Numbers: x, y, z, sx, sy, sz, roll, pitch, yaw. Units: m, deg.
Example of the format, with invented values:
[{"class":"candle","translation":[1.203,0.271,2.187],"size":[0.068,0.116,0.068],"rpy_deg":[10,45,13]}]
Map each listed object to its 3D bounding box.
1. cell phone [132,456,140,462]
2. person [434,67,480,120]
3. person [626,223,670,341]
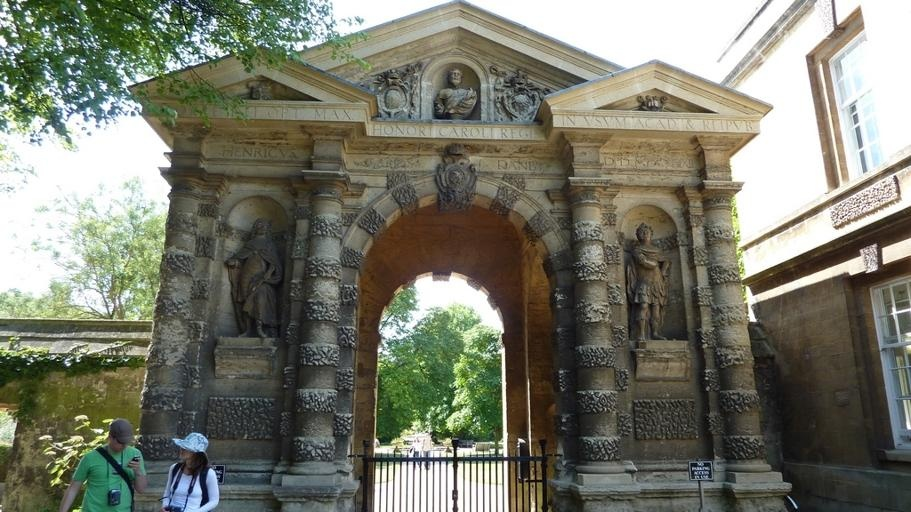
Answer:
[{"class":"cell phone","translation":[-6.609,4.198,12.938],"size":[0.115,0.090,0.024],"rpy_deg":[6,-13,-10]},{"class":"person","translation":[0.042,-4.834,18.563],"size":[1.323,1.774,0.518],"rpy_deg":[3,-24,-5]},{"class":"person","translation":[5.540,0.782,18.015],"size":[1.210,3.400,0.883],"rpy_deg":[-2,-24,7]}]
